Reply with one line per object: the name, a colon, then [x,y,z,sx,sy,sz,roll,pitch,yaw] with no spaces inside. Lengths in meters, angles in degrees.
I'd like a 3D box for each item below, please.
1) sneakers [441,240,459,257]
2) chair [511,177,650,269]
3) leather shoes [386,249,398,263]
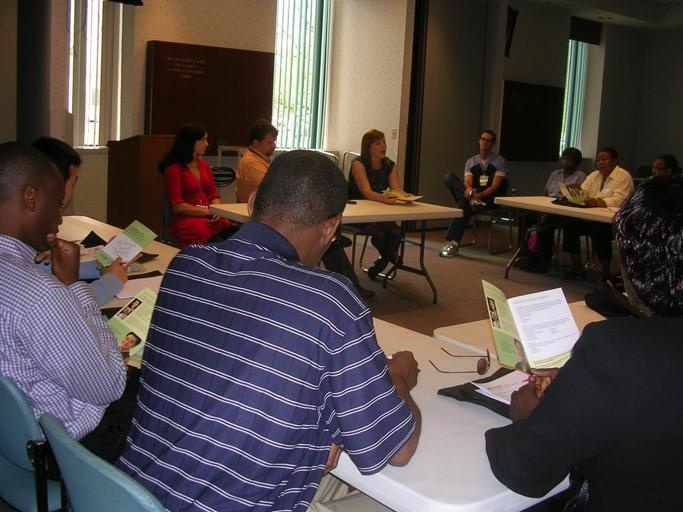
sneakers: [1.425,-0.086,6.893,0.128,0.155,0.333,2,4,27]
chair: [2.150,-0.299,4.930,0.697,0.966,0.942,7,4,-29]
leather shoes: [0.524,0.016,5.354,0.065,0.164,0.162,3,-1,8]
